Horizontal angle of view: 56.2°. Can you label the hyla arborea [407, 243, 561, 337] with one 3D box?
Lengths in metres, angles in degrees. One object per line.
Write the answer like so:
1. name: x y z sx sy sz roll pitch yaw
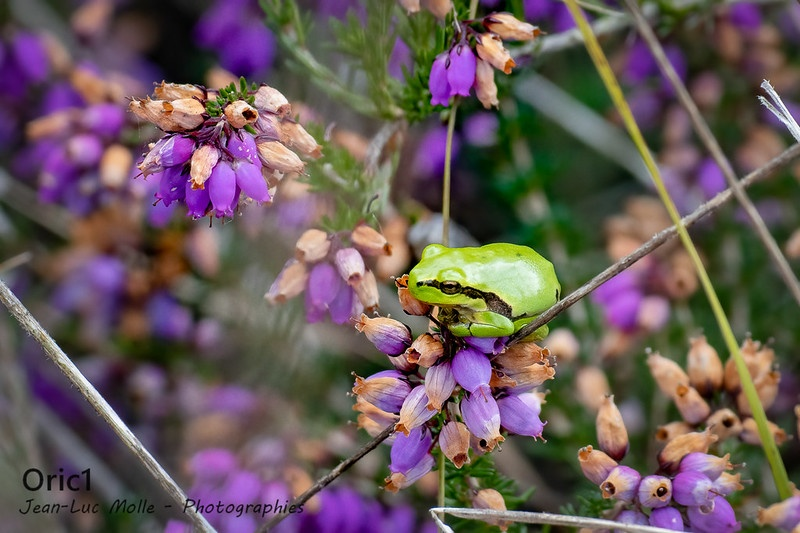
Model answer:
1. hyla arborea: 0.171 0.047 1.453 0.285 0.173 0.225 -2 22 -1
